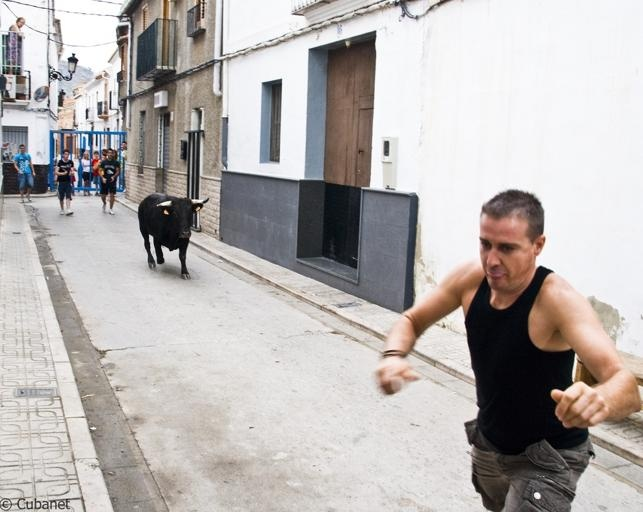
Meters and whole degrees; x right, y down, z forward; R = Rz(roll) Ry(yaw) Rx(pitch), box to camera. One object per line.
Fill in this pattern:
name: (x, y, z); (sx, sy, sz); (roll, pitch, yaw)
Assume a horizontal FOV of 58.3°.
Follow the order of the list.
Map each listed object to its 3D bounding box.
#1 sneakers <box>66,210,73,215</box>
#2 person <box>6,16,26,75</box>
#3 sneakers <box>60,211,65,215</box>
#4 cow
sneakers: (-8.648, -1.505, 19.885); (0.146, 0.222, 0.471); (-4, -3, -32)
person: (-16.738, -11.569, 31.651); (0.900, 3.097, 0.506); (0, 8, -12)
sneakers: (-8.958, -1.494, 20.029); (0.175, 0.084, 0.316); (0, 14, -17)
cow: (-3.193, -0.503, 12.096); (0.799, 1.511, 2.521); (-2, 10, -28)
